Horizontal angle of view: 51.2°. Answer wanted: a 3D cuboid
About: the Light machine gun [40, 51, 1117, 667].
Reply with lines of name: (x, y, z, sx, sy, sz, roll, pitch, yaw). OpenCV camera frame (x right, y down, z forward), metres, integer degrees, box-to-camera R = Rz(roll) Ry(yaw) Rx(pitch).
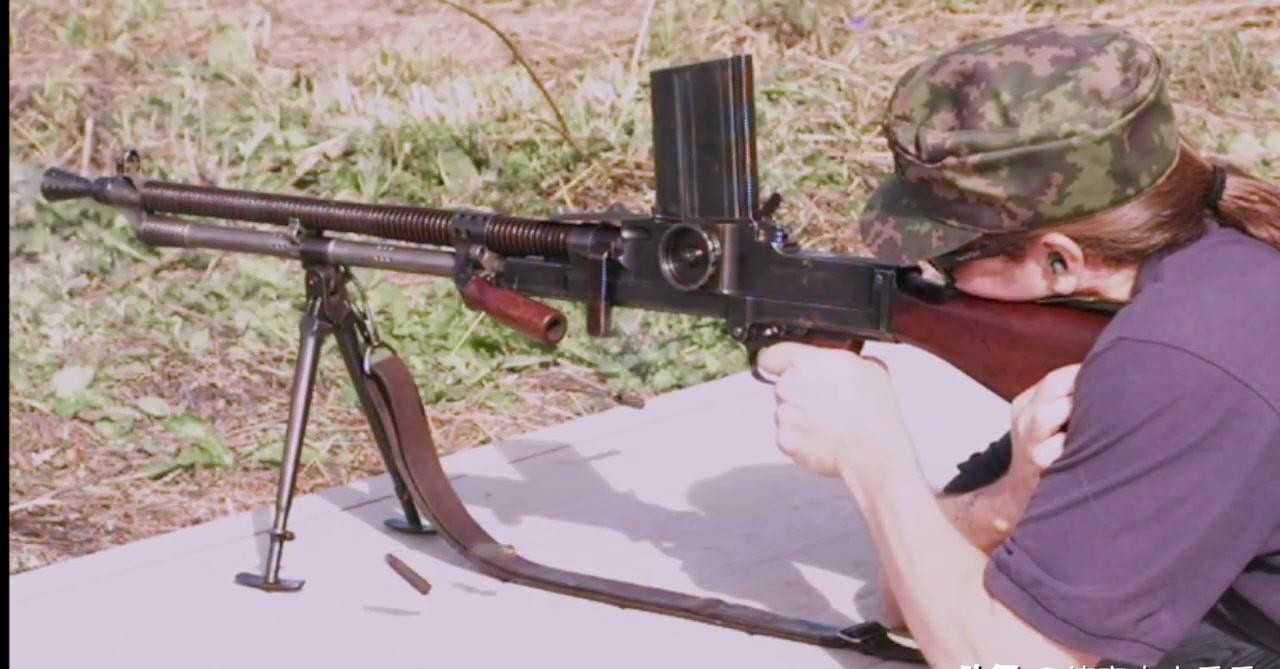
Light machine gun: (-0.605, -0.246, 4.311, 3.932, 1.762, 1.006, 8, 17, 13)

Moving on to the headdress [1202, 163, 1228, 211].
headdress: (1.328, -0.333, 3.077, 0.037, 0.090, 0.082, 4, 5, -11)

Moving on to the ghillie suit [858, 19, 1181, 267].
ghillie suit: (0.856, -0.427, 3.114, 0.651, 0.325, 0.472, -14, 29, 18)

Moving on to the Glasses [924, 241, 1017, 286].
Glasses: (0.776, -0.176, 3.118, 0.141, 0.050, 0.112, -27, -16, 33)
